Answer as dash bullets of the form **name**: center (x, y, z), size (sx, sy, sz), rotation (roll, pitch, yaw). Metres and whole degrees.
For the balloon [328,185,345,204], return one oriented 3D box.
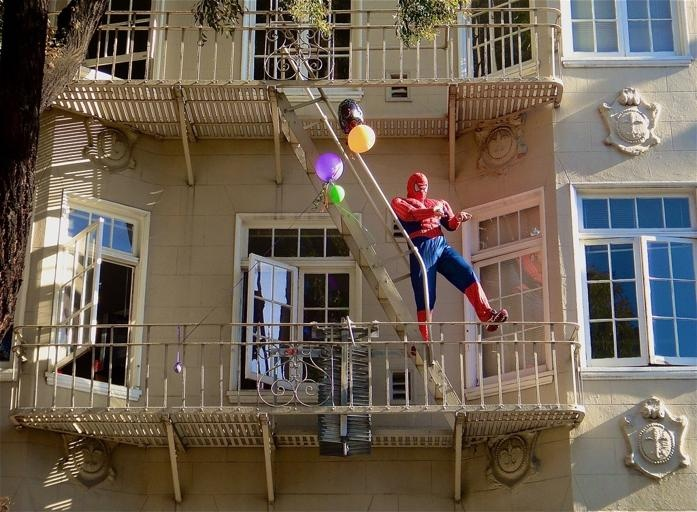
- **balloon**: center (-0.162, -0.766, 13.672), size (0.190, 0.255, 0.337), rotation (-1, -8, -5)

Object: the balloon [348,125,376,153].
- **balloon**: center (0.134, -1.427, 13.194), size (0.300, 0.358, 0.209), rotation (-6, -9, 28)

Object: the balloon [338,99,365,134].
- **balloon**: center (0.016, -1.731, 13.606), size (0.238, 0.491, 0.179), rotation (1, 8, 2)

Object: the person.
- **person**: center (1.112, -0.024, 13.450), size (1.170, 2.090, 0.711), rotation (-2, -8, 6)
